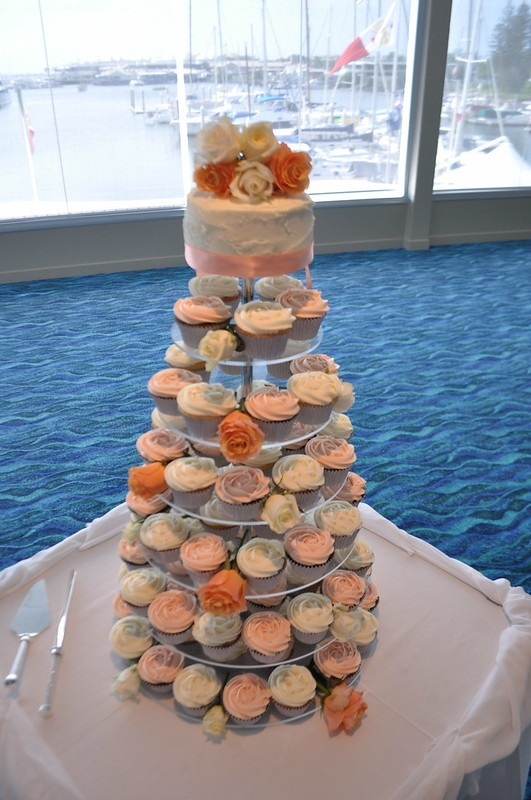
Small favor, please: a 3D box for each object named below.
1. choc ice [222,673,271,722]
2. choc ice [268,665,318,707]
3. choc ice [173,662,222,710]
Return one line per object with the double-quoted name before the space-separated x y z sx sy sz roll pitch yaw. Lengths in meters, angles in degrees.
"choc ice" -0.040 0.648 1.146 0.103 0.061 0.083 -18 34 -28
"choc ice" 0.056 0.635 1.158 0.099 0.071 0.079 -1 30 -2
"choc ice" -0.151 0.662 1.180 0.103 0.115 0.088 -12 32 -19
